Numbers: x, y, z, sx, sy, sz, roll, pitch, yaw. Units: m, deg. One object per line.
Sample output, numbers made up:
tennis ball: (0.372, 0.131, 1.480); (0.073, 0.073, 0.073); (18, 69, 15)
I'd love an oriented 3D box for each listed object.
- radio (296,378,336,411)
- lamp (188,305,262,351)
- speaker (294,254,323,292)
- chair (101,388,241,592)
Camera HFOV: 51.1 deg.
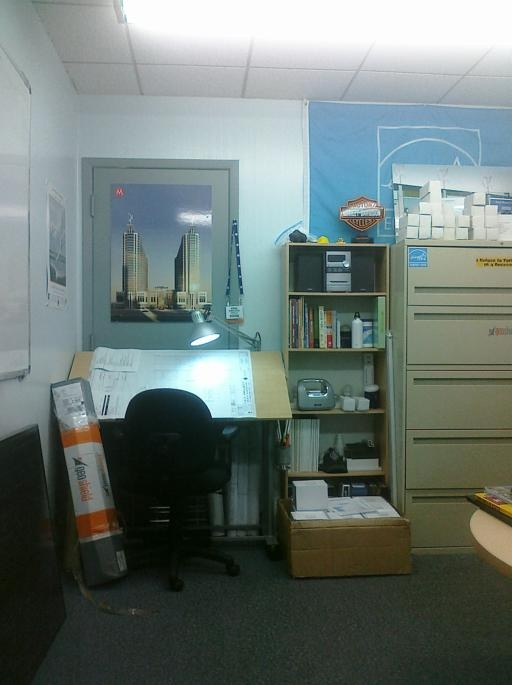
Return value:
radio: (0.327, 0.286, 2.985); (0.143, 0.146, 0.194); (1, 4, 1)
lamp: (-0.222, -0.075, 2.974); (0.347, 0.259, 0.571); (2, 4, 21)
speaker: (0.282, -0.397, 3.008); (0.193, 0.289, 0.178); (1, 13, 1)
chair: (-0.417, 0.639, 2.586); (0.635, 0.943, 0.751); (0, 3, -17)
